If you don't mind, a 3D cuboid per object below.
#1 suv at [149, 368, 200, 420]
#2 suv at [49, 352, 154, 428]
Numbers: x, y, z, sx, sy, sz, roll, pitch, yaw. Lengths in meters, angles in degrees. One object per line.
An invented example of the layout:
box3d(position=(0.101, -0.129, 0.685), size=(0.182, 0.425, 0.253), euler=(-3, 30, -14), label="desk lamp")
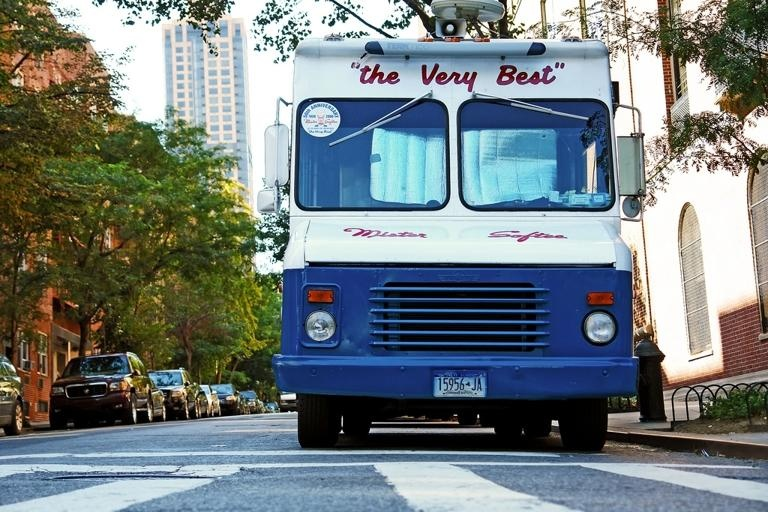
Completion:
box3d(position=(-8.091, 5.384, 36.848), size=(1.325, 1.155, 2.819), euler=(-2, -13, 5), label="suv")
box3d(position=(-8.480, 4.093, 29.309), size=(2.197, 2.157, 3.493), euler=(-4, -7, 7), label="suv")
